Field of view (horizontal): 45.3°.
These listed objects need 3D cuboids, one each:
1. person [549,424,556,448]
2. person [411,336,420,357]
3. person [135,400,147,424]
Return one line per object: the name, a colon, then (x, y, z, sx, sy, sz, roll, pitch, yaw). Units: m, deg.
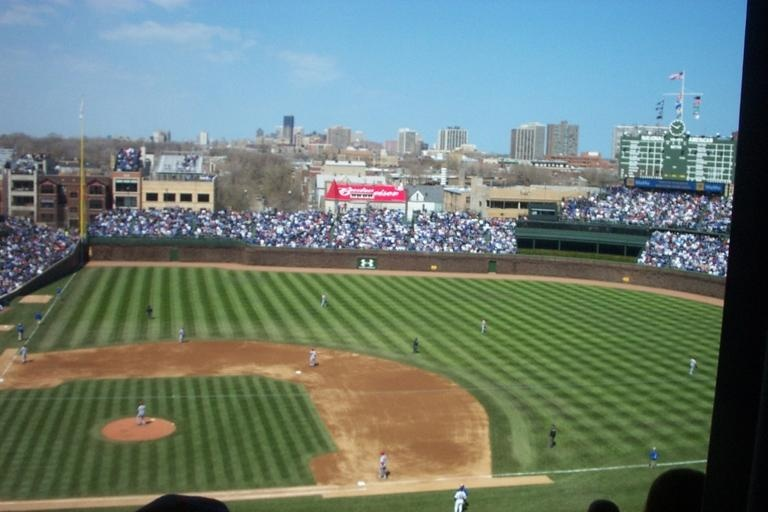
person: (11.308, 11.942, 61.180, 0.506, 1.401, 0.694, 3, 1, -7)
person: (2.336, 7.210, 73.971, 0.959, 1.331, 0.768, -2, 6, 18)
person: (-16.609, 10.625, 62.252, 0.979, 1.765, 0.650, 7, 17, 11)
